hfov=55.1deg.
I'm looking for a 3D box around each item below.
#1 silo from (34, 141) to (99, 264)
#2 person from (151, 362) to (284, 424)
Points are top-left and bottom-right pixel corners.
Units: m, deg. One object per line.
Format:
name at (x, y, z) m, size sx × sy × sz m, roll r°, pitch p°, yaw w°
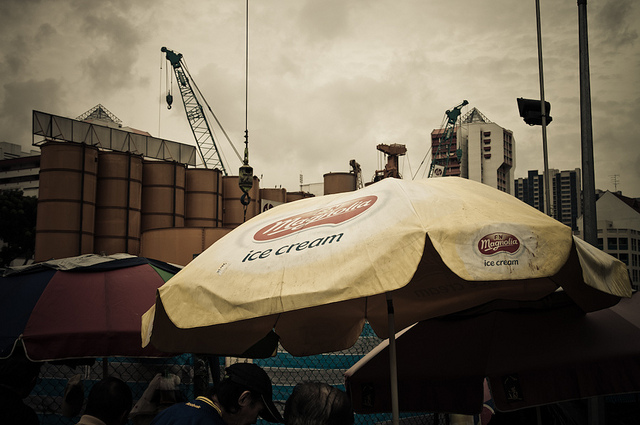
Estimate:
silo at (-14.024, -0.684, 34.010) m, size 2.920 × 6.779 × 1.138 m, roll 7°, pitch -13°, yaw -28°
person at (-0.946, 1.963, 6.308) m, size 1.026 × 0.607 × 0.669 m, roll 11°, pitch -16°, yaw -9°
